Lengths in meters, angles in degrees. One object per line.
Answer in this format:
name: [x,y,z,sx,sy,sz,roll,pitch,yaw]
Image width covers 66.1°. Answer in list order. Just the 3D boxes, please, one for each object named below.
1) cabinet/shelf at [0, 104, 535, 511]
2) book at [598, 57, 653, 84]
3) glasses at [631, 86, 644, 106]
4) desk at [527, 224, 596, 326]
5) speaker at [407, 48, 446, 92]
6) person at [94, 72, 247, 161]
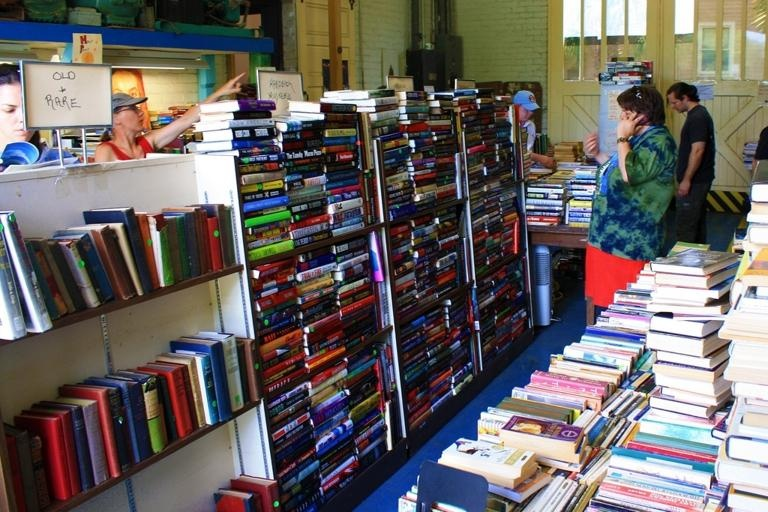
cabinet/shelf: [-0.664,0.309,3.360,0.806,1.503,2.786,6,16,40]
book: [3.461,-2.613,8.426,0.690,0.316,0.656,3,18,18]
glasses: [1.888,-1.202,4.387,0.041,0.106,0.076,2,0,-5]
desk: [1.786,0.185,6.266,1.095,0.967,0.793,0,0,8]
speaker: [0.668,-3.114,9.866,0.479,0.663,0.909,4,18,24]
person: [-1.430,-1.016,4.237,1.165,0.438,0.614,-9,6,-33]
